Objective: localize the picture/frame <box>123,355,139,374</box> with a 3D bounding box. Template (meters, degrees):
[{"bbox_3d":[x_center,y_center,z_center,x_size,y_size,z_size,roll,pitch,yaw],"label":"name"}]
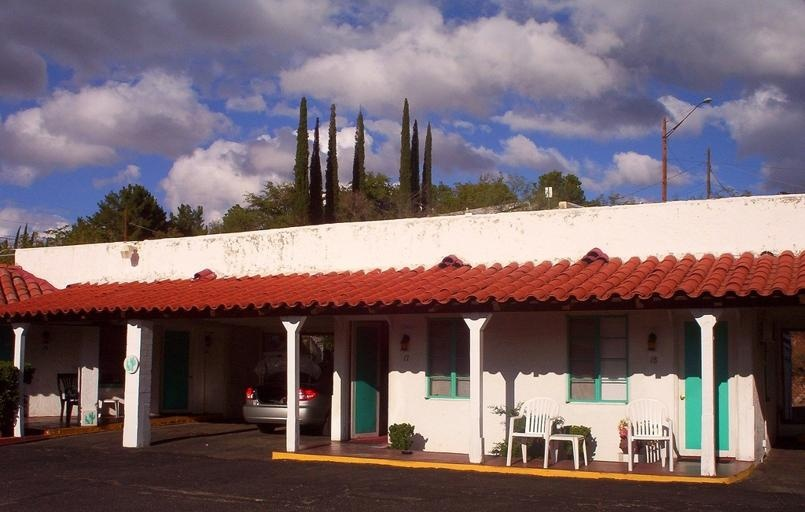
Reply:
[{"bbox_3d":[-6.842,2.760,21.291,0.440,0.474,0.114,-3,-9,21],"label":"picture/frame"}]

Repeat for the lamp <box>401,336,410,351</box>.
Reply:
[{"bbox_3d":[0.054,2.158,20.855,0.269,0.426,0.064,-2,-9,15],"label":"lamp"}]

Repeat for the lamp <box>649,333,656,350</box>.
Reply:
[{"bbox_3d":[5.677,1.971,19.220,0.181,0.392,0.049,-1,-8,11],"label":"lamp"}]

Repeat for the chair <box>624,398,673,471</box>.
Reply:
[{"bbox_3d":[5.382,3.892,18.404,0.979,1.507,1.303,-2,-9,17],"label":"chair"}]

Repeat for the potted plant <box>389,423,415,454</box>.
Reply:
[{"bbox_3d":[0.013,4.340,20.310,0.637,0.801,0.711,-3,-4,31],"label":"potted plant"}]

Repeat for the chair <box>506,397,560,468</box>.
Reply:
[{"bbox_3d":[2.876,3.928,18.852,1.082,1.497,1.190,-2,-9,17],"label":"chair"}]

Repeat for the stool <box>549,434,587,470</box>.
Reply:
[{"bbox_3d":[3.674,4.296,18.597,0.796,0.621,0.804,-2,-16,7],"label":"stool"}]
